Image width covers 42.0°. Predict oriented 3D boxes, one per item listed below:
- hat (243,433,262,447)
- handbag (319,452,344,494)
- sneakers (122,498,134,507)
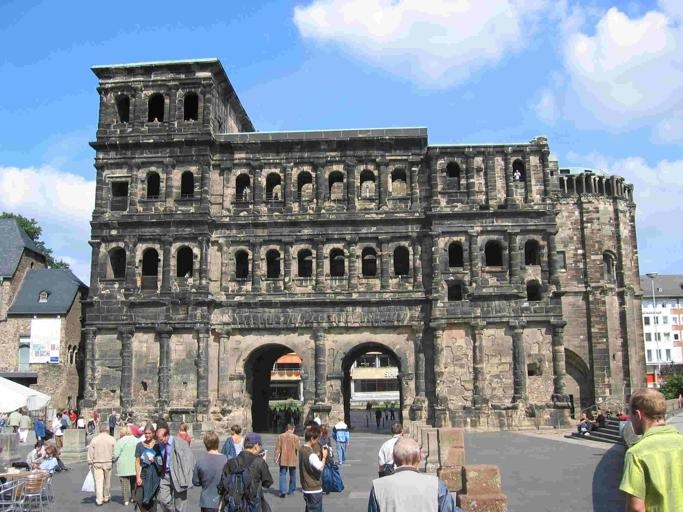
[{"bbox_3d":[-3.213,6.554,31.828,0.417,0.539,0.541,-3,-50,12],"label":"hat"},{"bbox_3d":[-0.414,8.444,35.136,0.598,1.462,0.923,-10,-15,32],"label":"handbag"},{"bbox_3d":[-8.655,9.933,36.108,0.407,0.229,0.276,-1,-24,-15],"label":"sneakers"}]
